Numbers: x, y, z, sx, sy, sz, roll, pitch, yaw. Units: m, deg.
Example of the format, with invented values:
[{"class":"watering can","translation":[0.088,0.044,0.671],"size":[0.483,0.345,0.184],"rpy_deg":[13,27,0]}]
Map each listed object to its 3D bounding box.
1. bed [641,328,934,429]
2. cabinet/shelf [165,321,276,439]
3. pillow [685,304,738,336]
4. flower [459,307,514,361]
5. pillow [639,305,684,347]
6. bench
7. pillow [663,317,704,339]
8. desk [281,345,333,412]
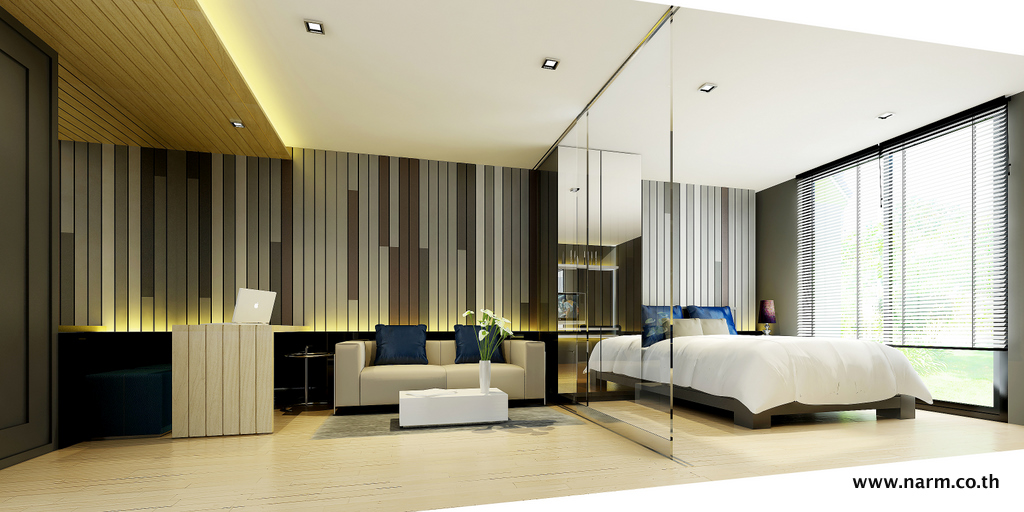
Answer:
[{"class":"bed","translation":[4.117,1.638,8.449],"size":[2.404,0.528,2.111],"rpy_deg":[1,-4,-14]},{"class":"cabinet/shelf","translation":[-4.338,1.736,8.252],"size":[1.536,1.465,1.695],"rpy_deg":[-9,-14,10]},{"class":"pillow","translation":[3.559,1.107,10.541],"size":[0.698,0.544,0.192],"rpy_deg":[4,-25,-37]},{"class":"flower","translation":[-0.341,1.150,8.998],"size":[1.007,0.809,0.909],"rpy_deg":[-1,2,-10]},{"class":"pillow","translation":[1.990,0.895,7.743],"size":[0.157,0.500,0.563],"rpy_deg":[12,-7,-26]},{"class":"bench","translation":[-5.132,1.671,8.006],"size":[0.863,0.628,1.468],"rpy_deg":[1,-2,-23]},{"class":"pillow","translation":[2.596,1.089,9.029],"size":[0.592,0.290,0.087],"rpy_deg":[7,-24,-23]},{"class":"desk","translation":[-3.051,1.908,9.411],"size":[1.002,0.847,0.916],"rpy_deg":[2,-6,-22]}]
